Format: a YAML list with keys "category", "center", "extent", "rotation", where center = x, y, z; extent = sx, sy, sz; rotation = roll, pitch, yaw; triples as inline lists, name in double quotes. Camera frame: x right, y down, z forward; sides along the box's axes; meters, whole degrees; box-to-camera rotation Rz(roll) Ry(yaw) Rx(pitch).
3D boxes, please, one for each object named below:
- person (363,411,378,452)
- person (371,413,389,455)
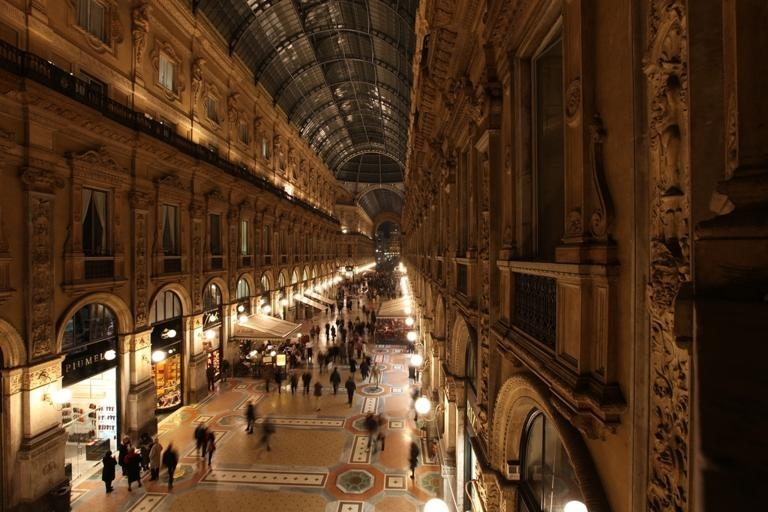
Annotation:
- category: "person"
  center: [-0.322, 5.523, 17.798]
  extent: [0.423, 1.601, 0.482]
  rotation: [21, -71, -13]
- category: "person"
  center: [-0.167, 5.485, 17.703]
  extent: [0.406, 0.402, 1.446]
  rotation: [10, -51, 9]
